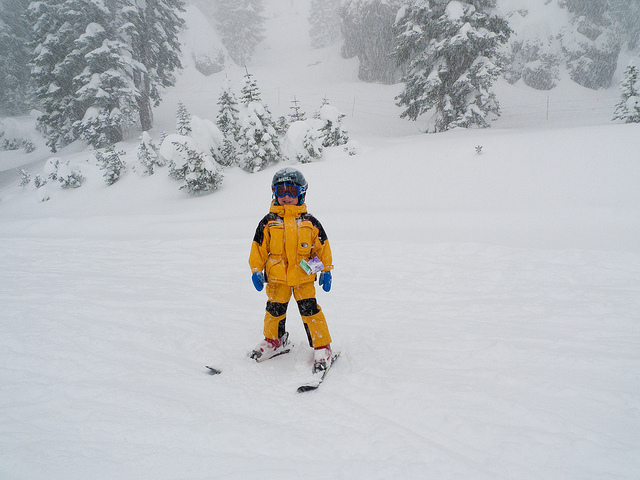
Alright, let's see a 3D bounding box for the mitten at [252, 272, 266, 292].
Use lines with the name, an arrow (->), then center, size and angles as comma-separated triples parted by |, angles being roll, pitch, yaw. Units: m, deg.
mitten -> -1.734, 1.147, 15.607 | 0.365, 0.492, 0.271 | -7, 22, -6
